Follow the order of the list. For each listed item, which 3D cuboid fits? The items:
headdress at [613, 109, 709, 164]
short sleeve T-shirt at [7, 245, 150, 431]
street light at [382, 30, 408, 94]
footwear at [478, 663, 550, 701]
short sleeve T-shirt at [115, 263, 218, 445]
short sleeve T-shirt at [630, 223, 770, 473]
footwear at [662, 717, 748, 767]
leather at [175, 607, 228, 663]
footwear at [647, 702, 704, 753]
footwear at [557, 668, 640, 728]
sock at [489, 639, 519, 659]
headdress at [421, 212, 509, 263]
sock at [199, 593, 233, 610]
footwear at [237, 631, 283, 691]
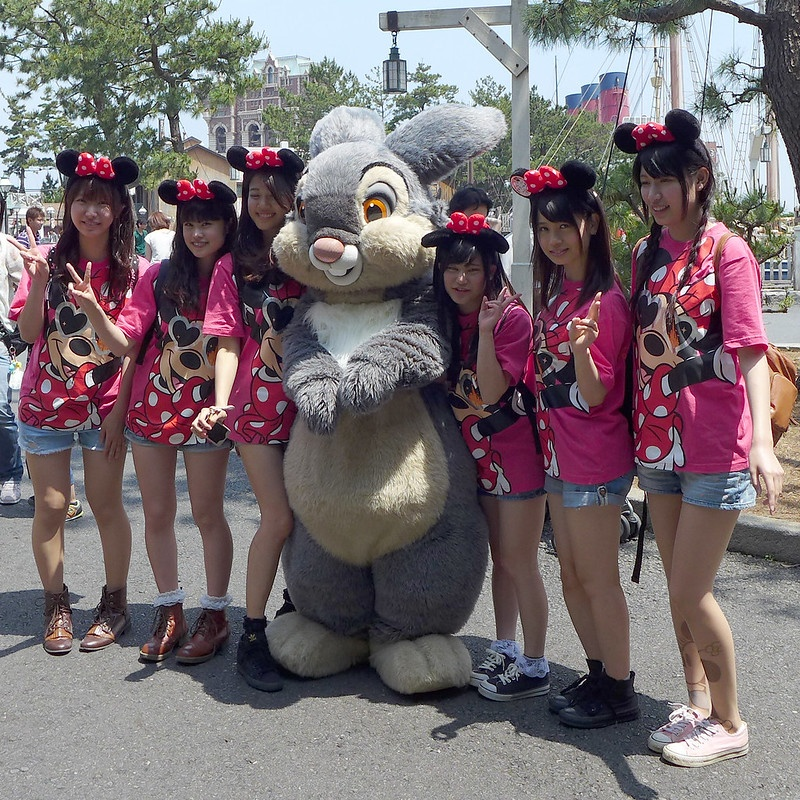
[{"bbox_3d":[0.873,-0.915,3.028,0.250,0.128,0.290,-7,18,8],"label":"headdress"},{"bbox_3d":[-1.419,-0.275,3.954,0.670,0.994,0.381,2,-16,-8],"label":"short sleeve T-shirt"},{"bbox_3d":[-0.070,-3.975,10.296,0.245,0.836,0.274,0,-5,2],"label":"street light"},{"bbox_3d":[0.451,1.134,3.459,0.278,0.157,0.116,1,10,-7],"label":"footwear"},{"bbox_3d":[-1.005,-0.183,3.849,0.556,0.818,0.310,4,-12,-1],"label":"short sleeve T-shirt"},{"bbox_3d":[0.979,-0.170,2.917,0.446,0.823,0.305,3,8,31],"label":"short sleeve T-shirt"},{"bbox_3d":[1.030,1.161,3.001,0.300,0.153,0.122,-3,-1,-15],"label":"footwear"},{"bbox_3d":[-0.853,1.056,3.882,0.104,0.212,0.324,1,-9,13],"label":"leather"},{"bbox_3d":[0.965,1.123,3.042,0.266,0.125,0.089,-8,11,-44],"label":"footwear"},{"bbox_3d":[0.741,1.118,3.288,0.305,0.189,0.145,-3,4,-15],"label":"footwear"},{"bbox_3d":[0.426,1.014,3.559,0.088,0.057,0.058,16,0,13],"label":"sock"},{"bbox_3d":[0.247,-0.641,3.393,0.336,0.161,0.186,-1,7,4],"label":"headdress"},{"bbox_3d":[-0.833,0.898,3.925,0.077,0.045,0.087,9,-11,-42],"label":"sock"},{"bbox_3d":[-0.596,1.069,3.628,0.290,0.197,0.115,15,8,44],"label":"footwear"}]
